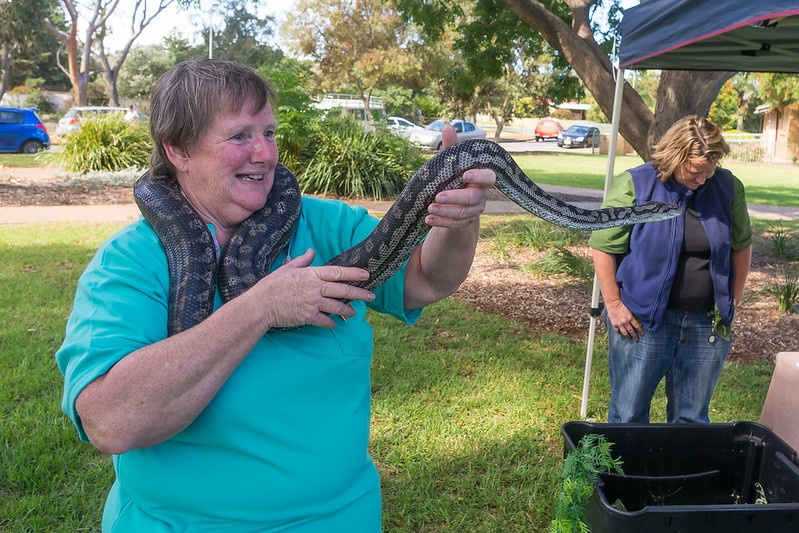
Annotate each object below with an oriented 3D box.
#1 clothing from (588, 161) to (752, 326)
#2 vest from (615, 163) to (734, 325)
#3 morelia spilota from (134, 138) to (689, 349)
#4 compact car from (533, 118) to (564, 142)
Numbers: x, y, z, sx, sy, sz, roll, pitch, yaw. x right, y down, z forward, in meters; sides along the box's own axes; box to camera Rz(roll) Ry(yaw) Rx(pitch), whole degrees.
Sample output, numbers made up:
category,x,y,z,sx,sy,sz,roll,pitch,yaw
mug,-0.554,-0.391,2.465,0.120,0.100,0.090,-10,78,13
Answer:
category,x,y,z,sx,sy,sz,roll,pitch,yaw
clothing,2.826,-0.222,6.358,1.590,1.510,0.888,0,15,4
vest,2.834,-0.264,6.370,1.157,1.589,0.969,-10,32,3
morelia spilota,-0.220,-0.130,4.331,2.755,0.316,1.593,5,46,4
compact car,16.480,-15.204,69.313,2.298,1.749,3.676,1,13,12
